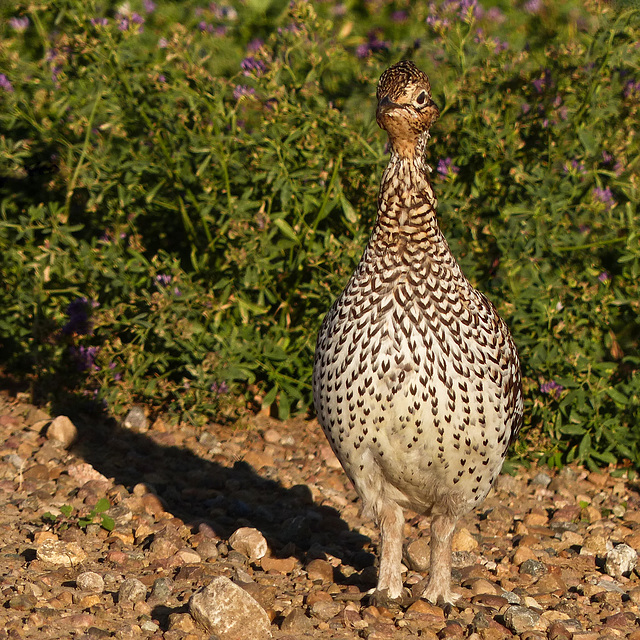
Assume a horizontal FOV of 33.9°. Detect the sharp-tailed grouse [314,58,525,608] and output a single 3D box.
[{"bbox_3d":[0.449,0.136,4.502,0.858,0.920,2.290,1,94,13],"label":"sharp-tailed grouse"}]
